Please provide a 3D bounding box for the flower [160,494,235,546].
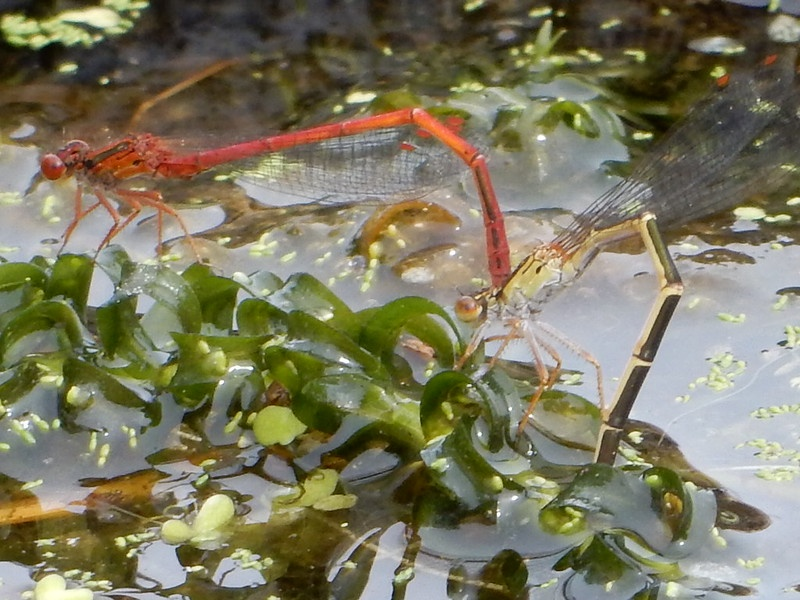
[{"bbox_3d":[-0.471,0.516,2.178,0.175,0.097,0.070,-1,18,-8],"label":"flower"}]
